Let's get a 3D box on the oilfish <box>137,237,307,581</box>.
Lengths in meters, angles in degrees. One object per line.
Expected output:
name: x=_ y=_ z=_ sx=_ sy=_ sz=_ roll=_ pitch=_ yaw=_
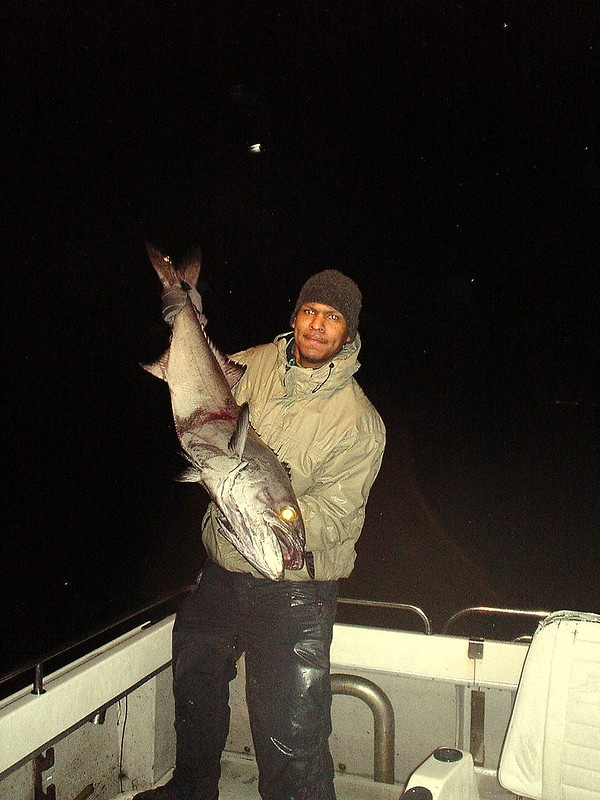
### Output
oilfish: x=-0.227 y=0.028 z=2.362 sx=0.352 sy=1.023 sz=0.539 roll=3 pitch=-3 yaw=-44

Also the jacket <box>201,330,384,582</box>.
jacket: x=0.047 y=0.170 z=2.665 sx=0.475 sy=0.925 sz=0.307 roll=5 pitch=-16 yaw=0
